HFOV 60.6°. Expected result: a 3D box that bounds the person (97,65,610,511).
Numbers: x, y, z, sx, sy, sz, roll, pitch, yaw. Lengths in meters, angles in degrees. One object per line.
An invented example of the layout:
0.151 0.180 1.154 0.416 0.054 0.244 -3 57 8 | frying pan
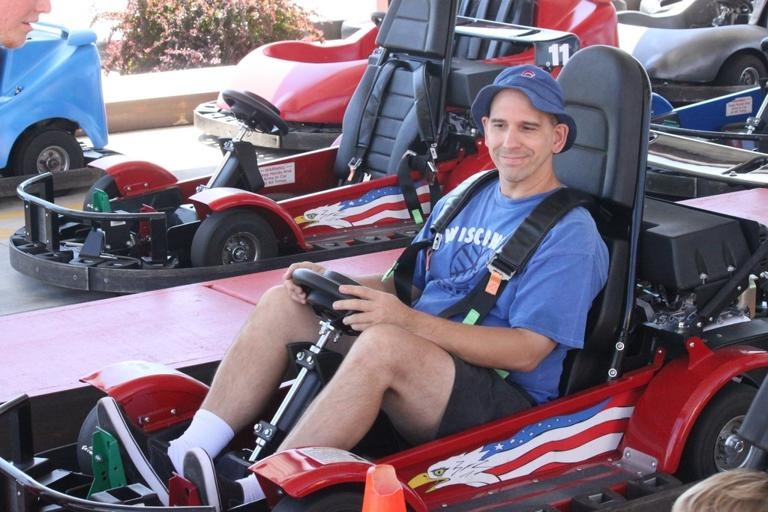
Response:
-0.061 -0.030 2.488 1.753 1.283 1.131 -5 11 -26 | person

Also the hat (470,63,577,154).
0.500 -0.570 2.312 0.330 0.195 0.380 16 -11 -6 | hat
